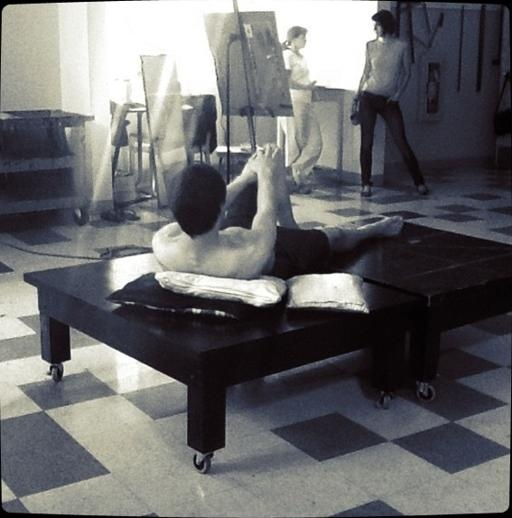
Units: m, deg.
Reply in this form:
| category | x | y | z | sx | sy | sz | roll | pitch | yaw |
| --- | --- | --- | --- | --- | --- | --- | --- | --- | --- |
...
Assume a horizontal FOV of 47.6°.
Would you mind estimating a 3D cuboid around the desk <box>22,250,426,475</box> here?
| category | x | y | z | sx | sy | sz | roll | pitch | yaw |
| --- | --- | --- | --- | --- | --- | --- | --- | --- | --- |
| desk | -0.150 | 0.211 | 1.457 | 1.018 | 0.349 | 0.566 | 5 | 12 | 21 |
